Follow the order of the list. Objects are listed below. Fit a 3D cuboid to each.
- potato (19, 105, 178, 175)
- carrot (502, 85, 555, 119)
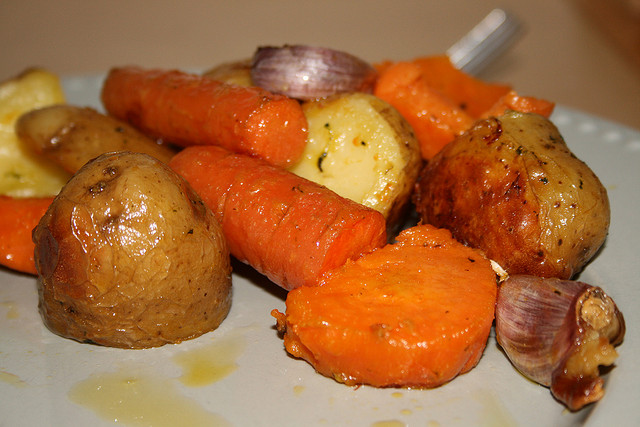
[{"bbox_3d":[-0.840,-0.299,2.839,0.560,0.181,0.300,27,4,-12],"label":"potato"},{"bbox_3d":[0.841,-0.432,2.887,0.156,0.068,0.143,19,4,-46],"label":"carrot"}]
